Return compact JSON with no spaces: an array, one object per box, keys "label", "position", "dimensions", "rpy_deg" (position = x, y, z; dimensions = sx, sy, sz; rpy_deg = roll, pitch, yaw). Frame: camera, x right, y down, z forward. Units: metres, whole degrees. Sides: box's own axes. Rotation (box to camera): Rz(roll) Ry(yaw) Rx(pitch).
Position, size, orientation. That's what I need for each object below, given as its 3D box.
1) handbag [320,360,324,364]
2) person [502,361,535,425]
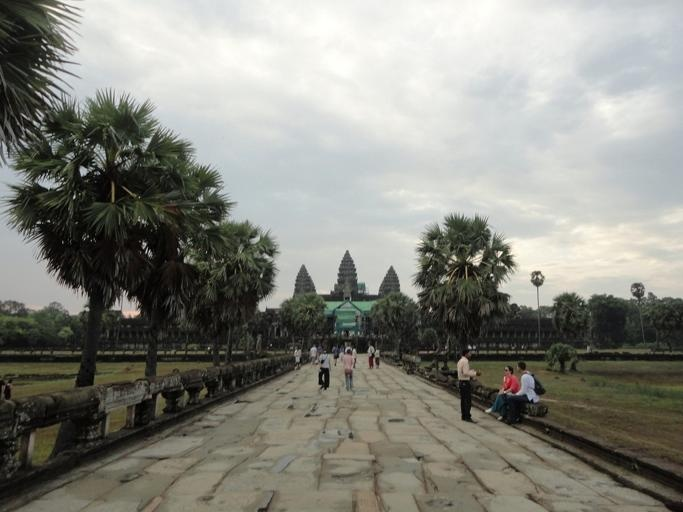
[{"label":"handbag","position":[-0.807,4.350,18.877],"dimensions":[0.162,0.073,0.205],"rpy_deg":[-6,-8,6]},{"label":"person","position":[5.011,4.027,13.347],"dimensions":[1.015,1.809,0.644],"rpy_deg":[21,-35,-21]}]
